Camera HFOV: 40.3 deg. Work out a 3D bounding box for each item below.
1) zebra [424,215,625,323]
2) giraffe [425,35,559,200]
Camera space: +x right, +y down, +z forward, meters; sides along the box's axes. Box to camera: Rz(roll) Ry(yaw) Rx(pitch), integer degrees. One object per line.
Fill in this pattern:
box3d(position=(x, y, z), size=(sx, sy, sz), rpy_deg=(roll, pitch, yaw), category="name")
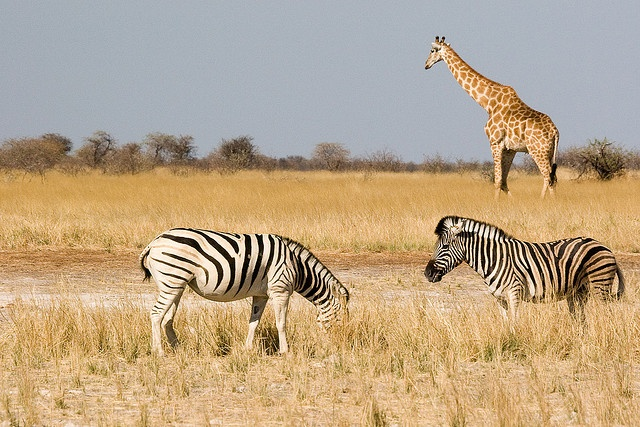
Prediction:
box3d(position=(3.358, 1.114, 14.009), size=(3.154, 2.350, 0.961), rpy_deg=(-3, -6, -2), category="zebra")
box3d(position=(5.571, -2.838, 26.746), size=(1.224, 4.713, 3.844), rpy_deg=(3, -2, -33), category="giraffe")
